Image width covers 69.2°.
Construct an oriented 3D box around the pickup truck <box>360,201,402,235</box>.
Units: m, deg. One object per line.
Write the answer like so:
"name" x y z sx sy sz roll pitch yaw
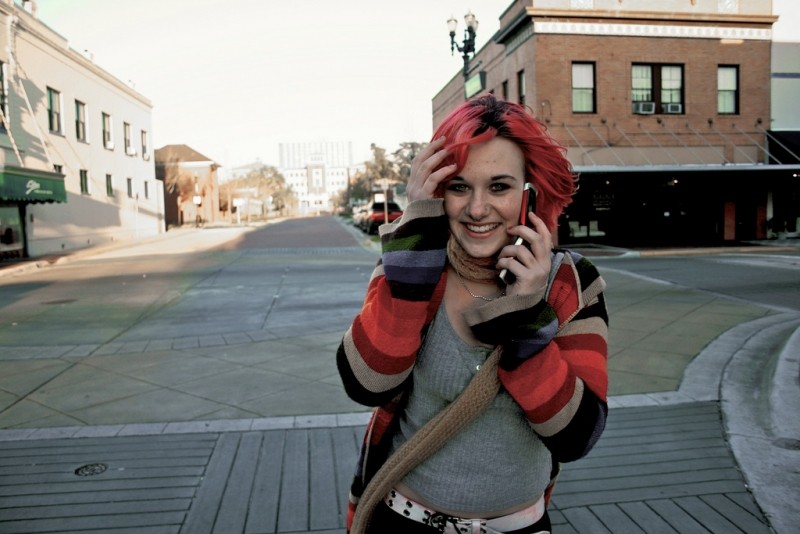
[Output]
"pickup truck" -1.379 -3.187 36.769 1.632 1.401 3.764 -2 10 -4
